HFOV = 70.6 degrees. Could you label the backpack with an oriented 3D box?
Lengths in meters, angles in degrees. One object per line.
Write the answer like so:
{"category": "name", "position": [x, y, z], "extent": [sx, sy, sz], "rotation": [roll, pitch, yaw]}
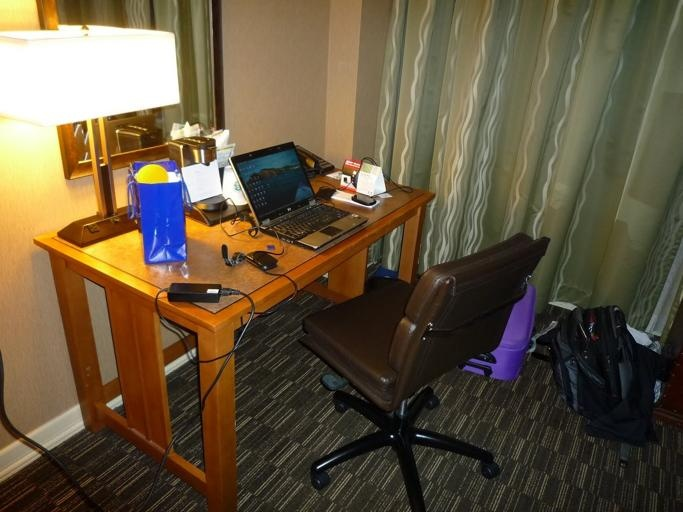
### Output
{"category": "backpack", "position": [1.293, 0.592, 2.371], "extent": [0.491, 0.639, 0.275], "rotation": [-3, -20, 22]}

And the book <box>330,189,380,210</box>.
{"category": "book", "position": [0.052, -0.287, 2.449], "extent": [0.199, 0.030, 0.110], "rotation": [23, 37, 25]}

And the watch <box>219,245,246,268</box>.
{"category": "watch", "position": [-0.436, 0.003, 1.908], "extent": [0.034, 0.068, 0.064], "rotation": [34, 46, 23]}

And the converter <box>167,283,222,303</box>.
{"category": "converter", "position": [-0.513, 0.122, 1.683], "extent": [0.135, 0.035, 0.074], "rotation": [4, 25, 1]}

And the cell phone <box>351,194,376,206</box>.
{"category": "cell phone", "position": [0.115, -0.288, 2.437], "extent": [0.063, 0.024, 0.097], "rotation": [-23, 35, -40]}

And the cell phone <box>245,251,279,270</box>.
{"category": "cell phone", "position": [-0.304, 0.014, 1.880], "extent": [0.096, 0.030, 0.074], "rotation": [34, 38, 28]}
